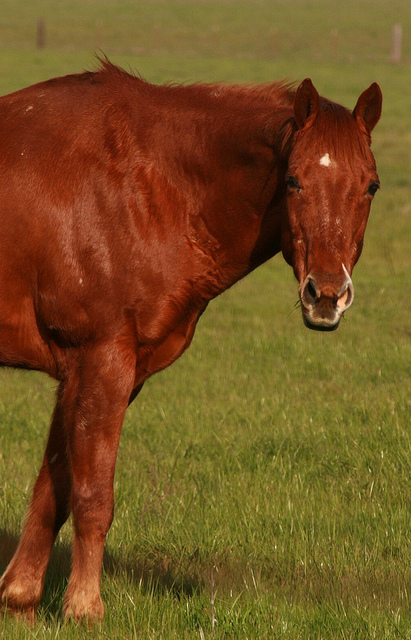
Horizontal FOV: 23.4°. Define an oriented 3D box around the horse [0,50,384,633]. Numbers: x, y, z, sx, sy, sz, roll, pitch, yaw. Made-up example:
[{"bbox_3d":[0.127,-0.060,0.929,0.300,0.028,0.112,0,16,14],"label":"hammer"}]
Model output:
[{"bbox_3d":[-0.131,0.049,4.373,1.598,2.325,1.029,1,12,15],"label":"horse"}]
